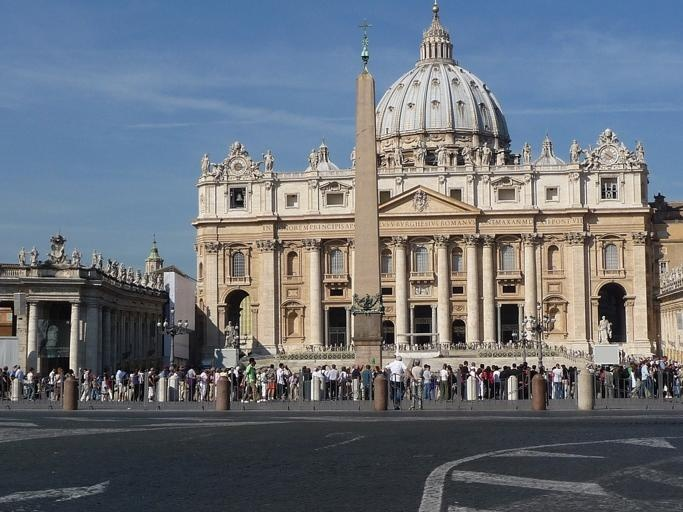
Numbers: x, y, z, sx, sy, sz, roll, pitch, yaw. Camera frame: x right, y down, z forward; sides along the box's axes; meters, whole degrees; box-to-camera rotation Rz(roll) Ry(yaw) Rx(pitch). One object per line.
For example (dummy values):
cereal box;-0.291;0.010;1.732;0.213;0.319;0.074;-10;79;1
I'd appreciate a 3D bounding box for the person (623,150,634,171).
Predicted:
person;23.587;-7.671;109.876;0.873;1.607;0.516;-2;-7;6
